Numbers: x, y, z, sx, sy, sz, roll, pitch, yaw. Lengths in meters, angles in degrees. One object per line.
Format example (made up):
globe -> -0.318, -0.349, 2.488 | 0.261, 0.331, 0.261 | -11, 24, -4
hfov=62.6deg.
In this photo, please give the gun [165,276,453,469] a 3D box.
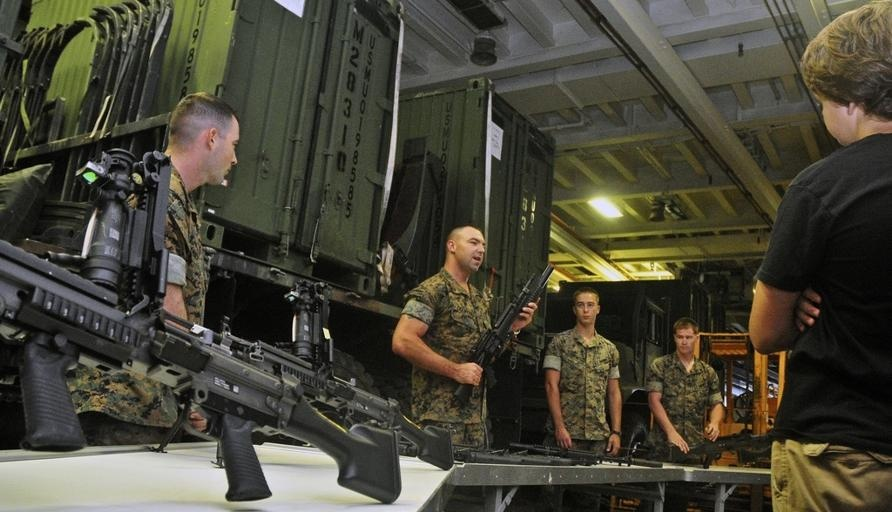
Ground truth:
gun -> -0.816, 0.682, 4.456 | 0.358, 1.012, 2.085 | -25, -39, 33
